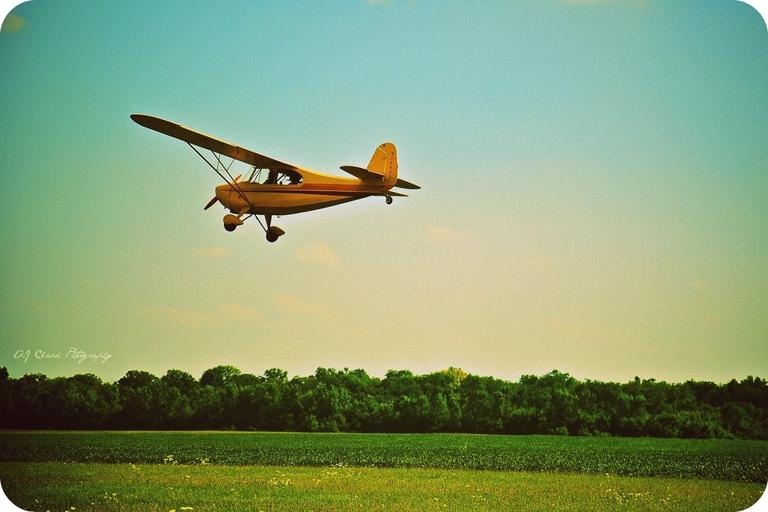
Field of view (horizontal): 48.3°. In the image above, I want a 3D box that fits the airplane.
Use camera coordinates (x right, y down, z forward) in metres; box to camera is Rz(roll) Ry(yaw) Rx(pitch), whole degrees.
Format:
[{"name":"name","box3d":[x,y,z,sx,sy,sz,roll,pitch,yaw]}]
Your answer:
[{"name":"airplane","box3d":[-4.723,-3.575,43.410,7.733,3.256,11.992,-2,-14,35]}]
